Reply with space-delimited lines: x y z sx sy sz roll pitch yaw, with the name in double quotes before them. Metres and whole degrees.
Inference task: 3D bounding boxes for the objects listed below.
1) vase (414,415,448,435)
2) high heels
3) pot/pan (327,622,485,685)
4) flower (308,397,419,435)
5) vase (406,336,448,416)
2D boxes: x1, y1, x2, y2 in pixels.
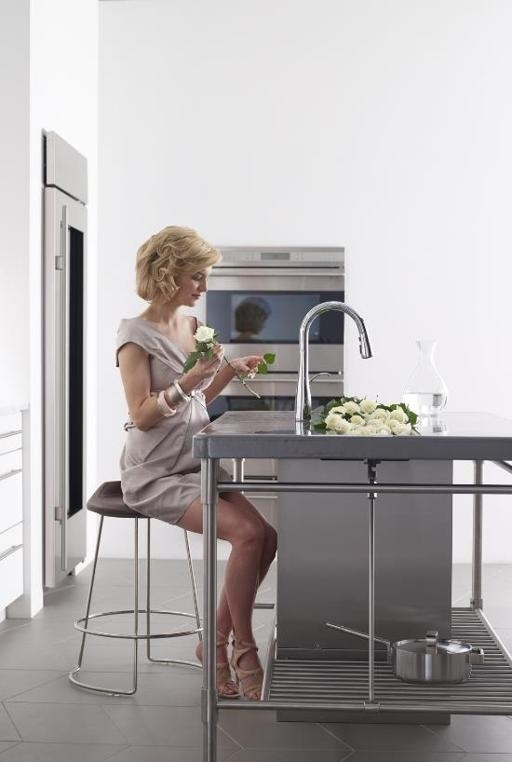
"vase" 0.416 0.103 1.711 0.064 0.062 0.065 3 4 37
"high heels" -0.070 0.741 1.871 0.092 0.108 0.272 2 -8 -15
"pot/pan" 0.384 0.627 1.658 0.254 0.090 0.138 -2 -6 9
"flower" 0.239 0.072 1.578 0.218 0.084 0.424 0 -3 12
"vase" 0.441 -0.014 1.885 0.102 0.214 0.271 0 -3 13
